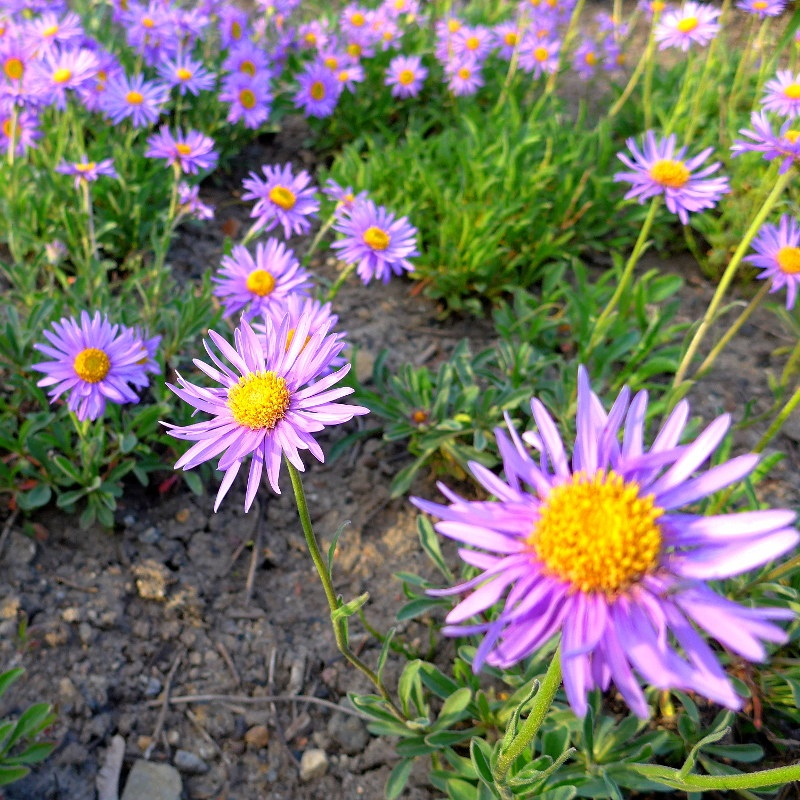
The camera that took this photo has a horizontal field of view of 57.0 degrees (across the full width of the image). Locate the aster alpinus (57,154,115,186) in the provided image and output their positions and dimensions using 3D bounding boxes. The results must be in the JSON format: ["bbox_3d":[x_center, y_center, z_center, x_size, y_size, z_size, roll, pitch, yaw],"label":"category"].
[{"bbox_3d":[-1.159,-0.853,2.736,0.199,0.110,0.195,-7,26,-36],"label":"aster alpinus"}]

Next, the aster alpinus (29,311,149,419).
[{"bbox_3d":[-0.930,-0.109,2.234,0.310,0.259,0.222,-9,47,-25],"label":"aster alpinus"}]

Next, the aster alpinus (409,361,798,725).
[{"bbox_3d":[0.382,0.269,1.425,0.648,0.456,0.630,20,43,4],"label":"aster alpinus"}]
